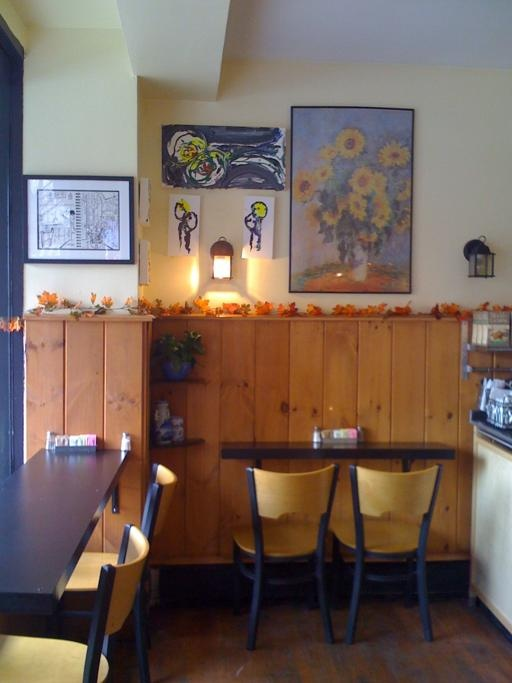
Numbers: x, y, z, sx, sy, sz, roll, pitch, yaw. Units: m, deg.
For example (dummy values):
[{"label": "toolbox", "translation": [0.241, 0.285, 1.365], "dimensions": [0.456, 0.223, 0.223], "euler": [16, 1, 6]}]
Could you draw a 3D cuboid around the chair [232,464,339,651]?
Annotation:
[{"label": "chair", "translation": [0.110, 0.849, 2.648], "dimensions": [0.425, 0.731, 0.539], "euler": [0, 3, 0]}]

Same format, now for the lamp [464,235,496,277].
[{"label": "lamp", "translation": [1.088, -0.407, 3.025], "dimensions": [0.158, 0.204, 0.134], "euler": [1, 3, 6]}]

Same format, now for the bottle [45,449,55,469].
[{"label": "bottle", "translation": [-0.793, 0.455, 2.398], "dimensions": [0.024, 0.017, 0.116], "euler": [0, 7, -7]}]

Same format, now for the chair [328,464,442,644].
[{"label": "chair", "translation": [0.543, 0.852, 2.705], "dimensions": [0.426, 0.732, 0.576], "euler": [1, 3, 7]}]

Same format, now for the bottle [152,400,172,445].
[{"label": "bottle", "translation": [-0.426, 0.365, 2.830], "dimensions": [0.092, 0.180, 0.175], "euler": [0, 3, -8]}]

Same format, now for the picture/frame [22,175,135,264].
[{"label": "picture/frame", "translation": [-0.765, -0.515, 2.604], "dimensions": [0.341, 0.312, 0.017], "euler": [0, -1, -6]}]

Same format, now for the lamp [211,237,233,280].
[{"label": "lamp", "translation": [-0.164, -0.392, 2.934], "dimensions": [0.100, 0.191, 0.071], "euler": [0, 3, 2]}]

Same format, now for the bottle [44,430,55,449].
[{"label": "bottle", "translation": [-0.837, 0.406, 2.542], "dimensions": [0.044, 0.063, 0.061], "euler": [2, 0, 7]}]

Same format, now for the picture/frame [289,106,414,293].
[{"label": "picture/frame", "translation": [0.432, -0.717, 2.989], "dimensions": [0.812, 1.274, 0.023], "euler": [0, 0, -7]}]

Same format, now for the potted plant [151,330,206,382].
[{"label": "potted plant", "translation": [-0.345, 0.079, 2.786], "dimensions": [0.199, 0.192, 0.232], "euler": [3, -9, -24]}]

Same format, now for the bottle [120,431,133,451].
[{"label": "bottle", "translation": [-0.541, 0.419, 2.581], "dimensions": [0.047, 0.075, 0.038], "euler": [0, 3, -12]}]
